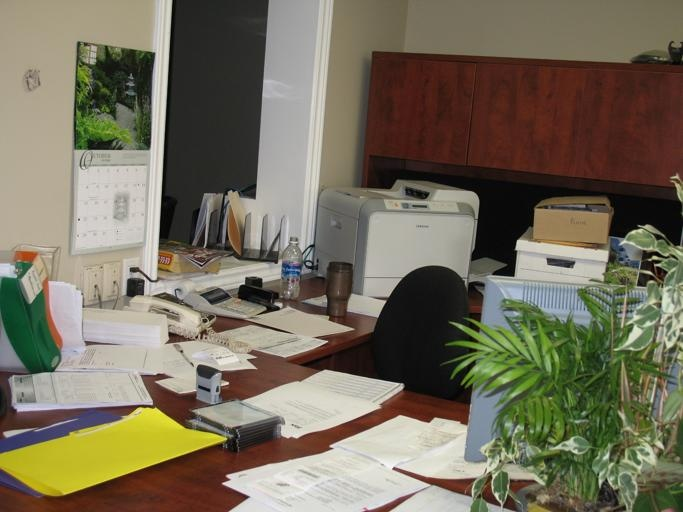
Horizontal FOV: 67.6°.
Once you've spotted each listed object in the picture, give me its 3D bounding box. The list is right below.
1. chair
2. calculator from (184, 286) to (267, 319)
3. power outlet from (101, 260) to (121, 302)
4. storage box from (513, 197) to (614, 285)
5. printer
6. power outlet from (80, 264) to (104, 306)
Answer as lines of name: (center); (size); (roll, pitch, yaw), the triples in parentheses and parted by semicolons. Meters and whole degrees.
chair: (0.413, 0.236, 2.281); (0.385, 0.589, 0.373); (19, 16, 33)
calculator: (-0.540, 0.211, 2.358); (0.369, 0.104, 0.297); (6, 4, 22)
power outlet: (-0.973, 0.102, 2.139); (0.018, 0.181, 0.157); (6, 7, 21)
storage box: (1.192, -0.077, 2.692); (0.738, 0.374, 0.855); (9, 9, 26)
printer: (0.269, -0.163, 3.050); (0.849, 0.665, 0.618); (-4, 15, -26)
power outlet: (-1.008, 0.115, 2.047); (0.042, 0.167, 0.143); (10, 13, 26)
